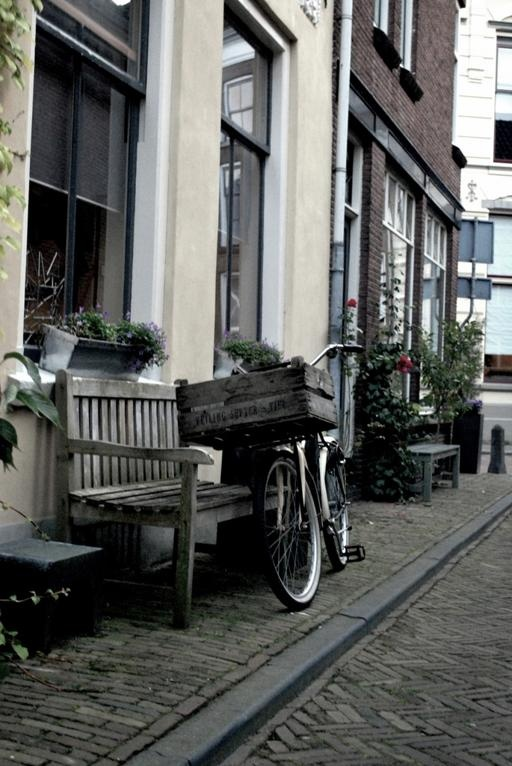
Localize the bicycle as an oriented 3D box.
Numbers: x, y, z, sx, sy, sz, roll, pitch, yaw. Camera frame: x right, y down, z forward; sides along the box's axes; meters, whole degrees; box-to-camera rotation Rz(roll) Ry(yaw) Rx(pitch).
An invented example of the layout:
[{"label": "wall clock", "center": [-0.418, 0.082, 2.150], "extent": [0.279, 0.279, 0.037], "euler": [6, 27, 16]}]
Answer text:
[{"label": "bicycle", "center": [0.264, 0.694, 4.536], "extent": [0.637, 0.940, 1.378], "euler": [-13, -9, 16]}]

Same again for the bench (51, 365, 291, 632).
[{"label": "bench", "center": [-0.406, 0.522, 4.410], "extent": [0.665, 1.213, 1.674], "euler": [-2, -3, 11]}]

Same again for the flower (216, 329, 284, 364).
[{"label": "flower", "center": [-0.043, -0.248, 6.525], "extent": [0.374, 0.187, 0.281], "euler": [20, 4, -37]}]
